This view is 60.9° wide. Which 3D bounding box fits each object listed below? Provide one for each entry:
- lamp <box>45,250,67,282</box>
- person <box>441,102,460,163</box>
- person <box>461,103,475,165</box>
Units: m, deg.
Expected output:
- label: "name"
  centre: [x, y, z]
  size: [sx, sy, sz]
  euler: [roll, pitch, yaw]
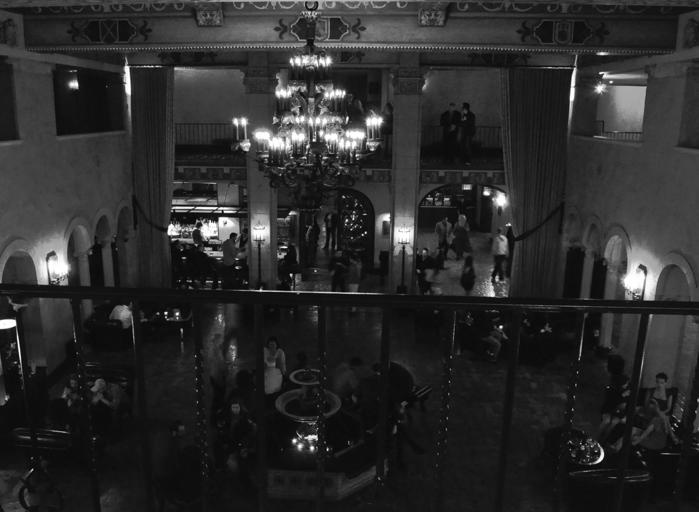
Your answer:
- label: "lamp"
  centre: [-5.847, 0.215, 11.782]
  size: [0.184, 0.644, 0.392]
  euler: [-1, 22, -5]
- label: "person"
  centre: [3.058, -3.762, 17.907]
  size: [0.565, 1.920, 0.550]
  euler: [3, -14, 1]
- label: "person"
  centre: [3.623, -3.688, 18.190]
  size: [0.393, 1.491, 1.865]
  euler: [2, 1, 10]
